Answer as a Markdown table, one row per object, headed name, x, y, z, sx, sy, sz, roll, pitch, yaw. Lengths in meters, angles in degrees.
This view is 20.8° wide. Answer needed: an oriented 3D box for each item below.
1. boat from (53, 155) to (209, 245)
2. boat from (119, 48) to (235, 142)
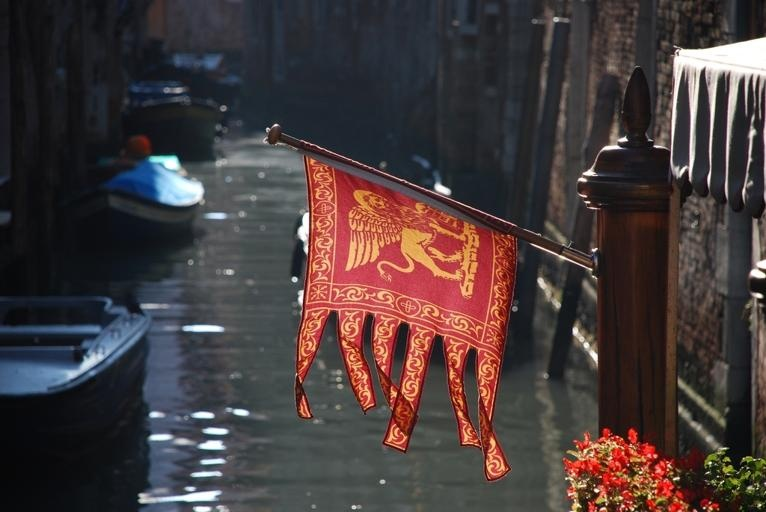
| name | x | y | z | sx | sy | sz | roll | pitch | yaw |
| --- | --- | --- | --- | --- | --- | --- | --- | --- | --- |
| boat | -4.417 | -0.966 | 37.318 | 0.806 | 1.601 | 2.747 | 11 | 17 | 37 |
| boat | -3.419 | -2.988 | 36.575 | 2.245 | 1.709 | 0.988 | -12 | 19 | -41 |
